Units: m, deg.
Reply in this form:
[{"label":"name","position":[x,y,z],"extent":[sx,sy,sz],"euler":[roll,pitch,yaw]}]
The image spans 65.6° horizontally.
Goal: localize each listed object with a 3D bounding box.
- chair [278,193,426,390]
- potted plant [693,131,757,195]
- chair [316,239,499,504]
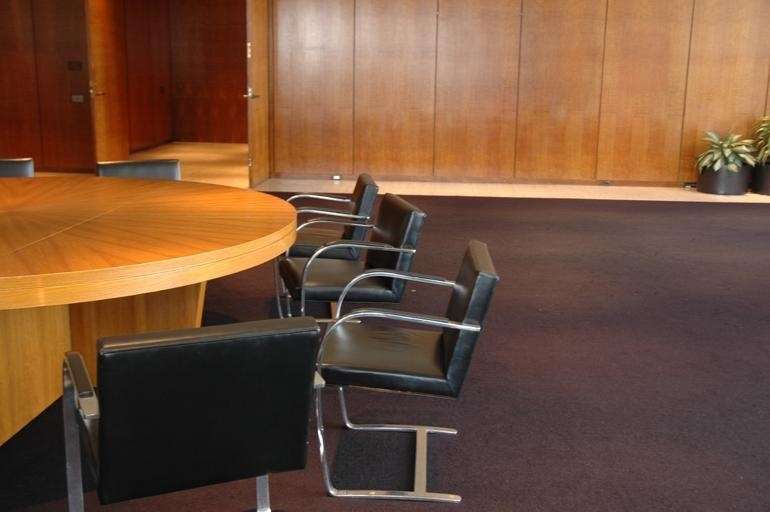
[{"label":"chair","position":[-0.215,0.084,3.913],"extent":[0.896,0.949,0.978],"euler":[3,14,-14]},{"label":"potted plant","position":[5.025,-1.386,9.055],"extent":[0.974,0.892,0.950],"euler":[0,6,4]},{"label":"chair","position":[0.109,0.482,3.321],"extent":[1.195,1.373,1.182],"euler":[2,8,-1]}]
